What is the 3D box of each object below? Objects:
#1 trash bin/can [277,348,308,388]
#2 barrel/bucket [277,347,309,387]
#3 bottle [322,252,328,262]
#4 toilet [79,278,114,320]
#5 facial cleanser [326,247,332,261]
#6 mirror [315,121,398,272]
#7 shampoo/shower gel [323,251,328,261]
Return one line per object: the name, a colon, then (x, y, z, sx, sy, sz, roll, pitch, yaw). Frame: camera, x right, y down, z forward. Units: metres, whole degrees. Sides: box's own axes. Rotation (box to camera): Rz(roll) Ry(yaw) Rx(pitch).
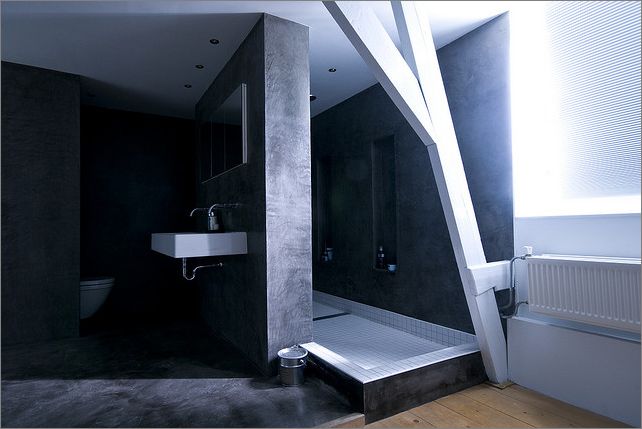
trash bin/can: (-0.272, 1.479, 3.846, 0.312, 0.272, 0.290, 0, -5, -2)
barrel/bucket: (-0.263, 1.470, 3.882, 0.313, 0.276, 0.291, 0, -5, 0)
bottle: (0.073, 0.715, 6.601, 0.109, 0.166, 0.104, 0, -5, 0)
toilet: (-3.133, 1.169, 5.522, 0.471, 0.369, 0.544, -8, -8, 43)
facial cleanser: (0.143, 0.656, 6.470, 0.149, 0.244, 0.151, -1, -3, -4)
mirror: (0.552, -0.278, 5.894, 0.249, 2.329, 2.413, 2, -5, -31)
shampoo/shower gel: (0.066, 0.719, 6.616, 0.097, 0.157, 0.100, -1, 0, -13)
